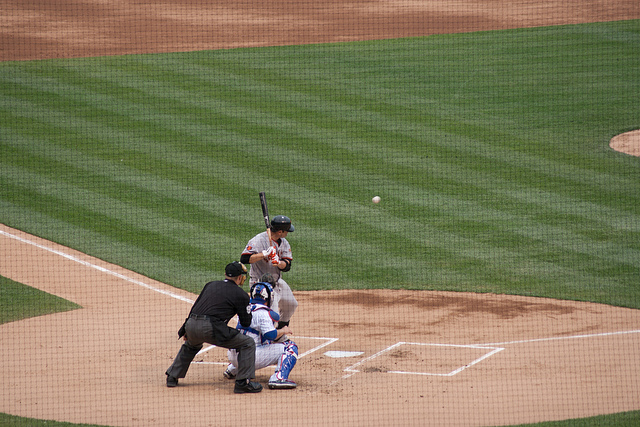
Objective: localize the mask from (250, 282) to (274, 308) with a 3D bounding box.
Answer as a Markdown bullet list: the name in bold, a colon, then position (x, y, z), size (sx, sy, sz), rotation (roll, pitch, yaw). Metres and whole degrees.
- **mask**: position (-1.534, 2.173, 30.596), size (0.624, 0.612, 0.676), rotation (3, -8, -2)

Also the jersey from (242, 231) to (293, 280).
- **jersey**: position (-1.460, 1.201, 31.299), size (1.531, 1.435, 0.884), rotation (-3, 23, -35)

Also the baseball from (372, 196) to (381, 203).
- **baseball**: position (1.789, -0.417, 37.260), size (0.270, 0.116, 0.261), rotation (7, 15, 37)

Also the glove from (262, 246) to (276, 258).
- **glove**: position (-1.398, 1.009, 30.683), size (0.362, 0.413, 0.298), rotation (4, -31, 7)
